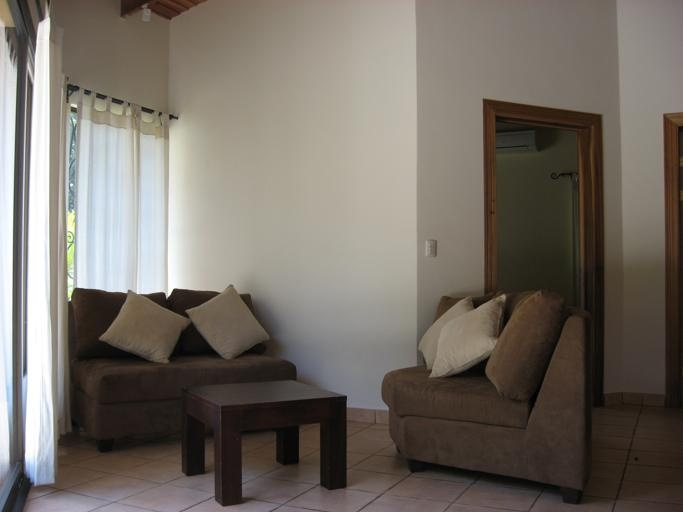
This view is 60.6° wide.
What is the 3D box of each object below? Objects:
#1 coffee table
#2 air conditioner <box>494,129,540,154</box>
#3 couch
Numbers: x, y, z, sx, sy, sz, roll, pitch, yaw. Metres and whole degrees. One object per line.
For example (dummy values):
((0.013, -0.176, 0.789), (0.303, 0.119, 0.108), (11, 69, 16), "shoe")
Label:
((-0.454, 1.042, 3.569), (0.687, 0.478, 0.674), (3, -6, -22), "coffee table")
((2.133, -1.412, 7.133), (0.482, 0.260, 0.190), (1, 2, 19), "air conditioner")
((-1.299, 0.918, 4.348), (1.582, 1.202, 1.087), (3, -11, -31), "couch")
